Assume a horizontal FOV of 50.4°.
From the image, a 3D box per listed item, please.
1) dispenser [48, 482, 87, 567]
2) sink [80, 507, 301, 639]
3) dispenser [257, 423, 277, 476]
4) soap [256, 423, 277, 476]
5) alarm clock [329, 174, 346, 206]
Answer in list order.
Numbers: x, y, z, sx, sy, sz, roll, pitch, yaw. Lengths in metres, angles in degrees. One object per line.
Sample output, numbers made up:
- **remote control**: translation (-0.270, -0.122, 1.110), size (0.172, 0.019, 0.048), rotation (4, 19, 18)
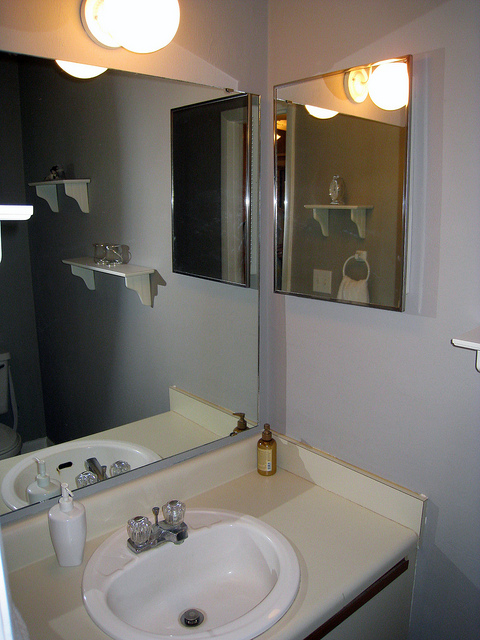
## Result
- **dispenser**: translation (-0.342, 0.420, 1.047), size (0.076, 0.180, 0.085), rotation (-8, 21, -38)
- **sink**: translation (-0.100, 0.564, 1.073), size (0.449, 0.132, 0.401), rotation (1, 11, -5)
- **dispenser**: translation (0.083, 0.371, 1.475), size (0.070, 0.152, 0.063), rotation (-2, 8, -16)
- **soap**: translation (0.075, 0.373, 1.460), size (0.052, 0.150, 0.036), rotation (1, 8, 1)
- **alarm clock**: translation (0.232, -0.311, 1.214), size (0.029, 0.084, 0.055), rotation (-1, 4, -27)
